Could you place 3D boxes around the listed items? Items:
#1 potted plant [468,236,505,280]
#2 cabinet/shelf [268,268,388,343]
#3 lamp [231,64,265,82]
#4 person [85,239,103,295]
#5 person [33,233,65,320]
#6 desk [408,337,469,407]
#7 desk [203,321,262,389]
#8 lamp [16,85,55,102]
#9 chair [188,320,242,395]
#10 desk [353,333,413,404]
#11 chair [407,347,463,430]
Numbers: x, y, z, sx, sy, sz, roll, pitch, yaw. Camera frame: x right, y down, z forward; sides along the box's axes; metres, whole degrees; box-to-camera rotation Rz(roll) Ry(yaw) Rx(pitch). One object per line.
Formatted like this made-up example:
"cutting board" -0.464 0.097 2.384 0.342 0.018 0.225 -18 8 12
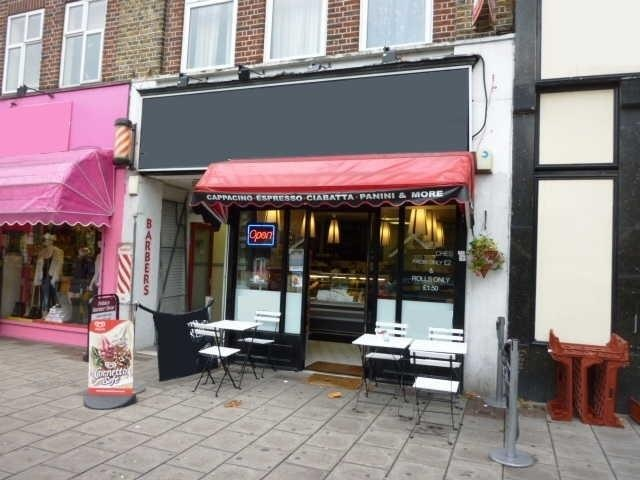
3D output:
"potted plant" 2.919 0.299 10.282 0.605 0.741 0.301 3 10 14
"cabinet/shelf" 0.268 1.382 14.399 1.894 1.826 0.989 5 -1 -10
"lamp" -1.406 -3.287 11.733 0.422 0.277 0.411 0 2 2
"person" -4.892 0.618 12.858 0.259 1.280 0.499 -8 13 -41
"person" -6.240 0.803 13.473 0.835 1.855 0.401 9 13 38
"desk" 1.910 2.314 9.735 0.832 1.007 0.806 -4 -4 23
"desk" -1.761 2.300 11.011 0.917 1.101 0.920 -4 -36 24
"lamp" -6.733 -3.446 13.915 0.500 0.339 0.781 7 6 7
"chair" -1.951 2.093 10.835 0.924 1.540 1.153 1 1 33
"desk" 1.186 2.267 10.649 0.884 0.934 0.893 -2 4 19
"chair" 1.940 2.290 9.686 1.045 1.629 1.200 -2 -8 20
